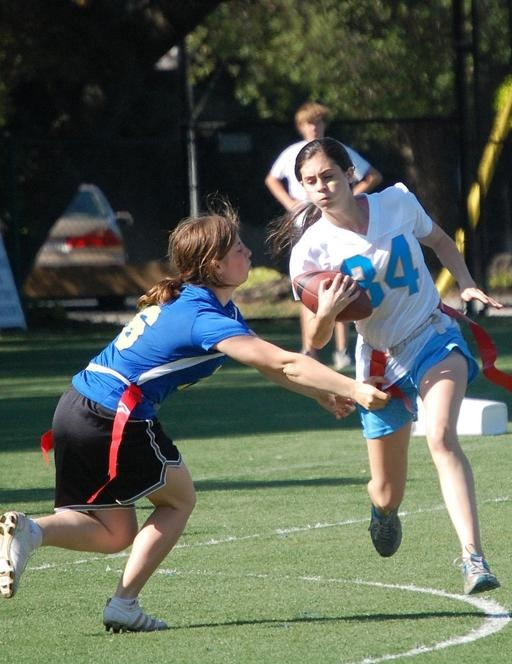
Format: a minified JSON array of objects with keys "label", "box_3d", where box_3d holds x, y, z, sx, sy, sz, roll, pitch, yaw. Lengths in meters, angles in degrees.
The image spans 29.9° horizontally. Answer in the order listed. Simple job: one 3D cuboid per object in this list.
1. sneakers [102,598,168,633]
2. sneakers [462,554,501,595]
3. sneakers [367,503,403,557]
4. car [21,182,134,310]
[{"label":"sneakers","box_3d":[-0.360,0.840,2.855,0.243,0.101,0.073,4,2,-20]},{"label":"sneakers","box_3d":[0.680,0.738,2.900,0.104,0.112,0.113,-2,4,9]},{"label":"sneakers","box_3d":[0.484,0.734,3.585,0.094,0.194,0.090,-8,-8,6]},{"label":"car","box_3d":[-2.643,-1.179,14.317,1.643,0.830,2.120,-2,-4,-3]}]
